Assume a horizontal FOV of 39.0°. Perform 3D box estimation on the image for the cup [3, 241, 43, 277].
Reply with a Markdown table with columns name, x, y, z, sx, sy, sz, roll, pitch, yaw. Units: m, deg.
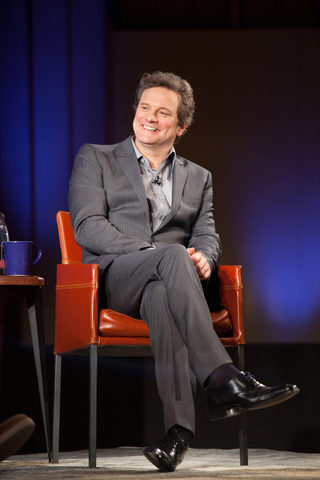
| name | x | y | z | sx | sy | sz | roll | pitch | yaw |
| --- | --- | --- | --- | --- | --- | --- | --- | --- | --- |
| cup | -0.456 | 0.059 | 1.459 | 0.093 | 0.106 | 0.071 | 1 | 1 | -39 |

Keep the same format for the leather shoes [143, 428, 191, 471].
| name | x | y | z | sx | sy | sz | roll | pitch | yaw |
| --- | --- | --- | --- | --- | --- | --- | --- | --- | --- |
| leather shoes | 0.024 | 0.434 | 0.942 | 0.055 | 0.073 | 0.175 | 20 | -15 | 27 |

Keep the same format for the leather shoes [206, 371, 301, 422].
| name | x | y | z | sx | sy | sz | roll | pitch | yaw |
| --- | --- | --- | --- | --- | --- | --- | --- | --- | --- |
| leather shoes | 0.180 | 0.311 | 0.930 | 0.199 | 0.081 | 0.065 | -27 | -25 | 34 |

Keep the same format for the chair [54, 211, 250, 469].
| name | x | y | z | sx | sy | sz | roll | pitch | yaw |
| --- | --- | --- | --- | --- | --- | --- | --- | --- | --- |
| chair | -0.088 | 0.304 | 1.523 | 0.597 | 0.766 | 0.548 | 7 | -11 | -40 |
